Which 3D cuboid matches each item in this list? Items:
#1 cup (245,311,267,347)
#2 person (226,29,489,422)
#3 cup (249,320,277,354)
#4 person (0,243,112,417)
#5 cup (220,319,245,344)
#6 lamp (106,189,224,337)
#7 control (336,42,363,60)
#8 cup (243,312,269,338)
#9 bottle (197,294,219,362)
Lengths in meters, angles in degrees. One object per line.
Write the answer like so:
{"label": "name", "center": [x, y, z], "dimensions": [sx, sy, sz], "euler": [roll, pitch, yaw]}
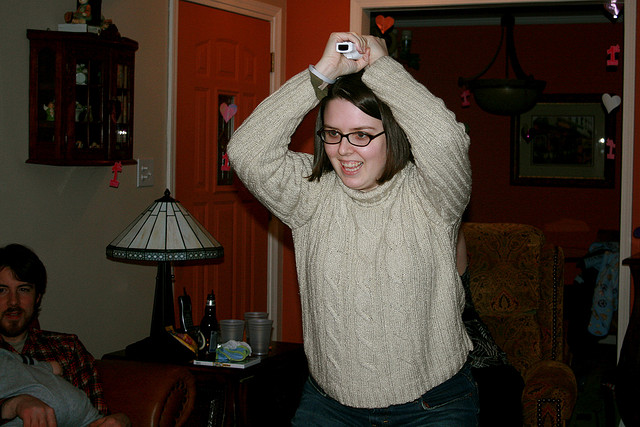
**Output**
{"label": "cup", "center": [-0.387, 0.692, 3.289], "dimensions": [0.156, 0.249, 0.163], "euler": [0, 2, 0]}
{"label": "person", "center": [0.132, 0.046, 1.810], "dimensions": [0.730, 1.073, 0.289], "euler": [0, 0, 17]}
{"label": "cup", "center": [-0.348, 0.735, 3.233], "dimensions": [0.163, 0.211, 0.184], "euler": [3, -6, -18]}
{"label": "person", "center": [-1.257, 0.566, 2.664], "dimensions": [0.493, 0.828, 0.418], "euler": [0, 0, -21]}
{"label": "cup", "center": [-0.498, 0.674, 3.154], "dimensions": [0.122, 0.105, 0.120], "euler": [2, -3, 0]}
{"label": "lamp", "center": [-0.803, 0.275, 3.291], "dimensions": [0.698, 0.989, 0.739], "euler": [3, 5, 22]}
{"label": "control", "center": [0.090, -0.515, 1.751], "dimensions": [0.065, 0.043, 0.068], "euler": [3, 1, -1]}
{"label": "cup", "center": [-0.383, 0.662, 3.282], "dimensions": [0.125, 0.127, 0.138], "euler": [-1, 4, -6]}
{"label": "bottle", "center": [-0.632, 0.641, 3.150], "dimensions": [0.110, 0.260, 0.356], "euler": [0, 1, -11]}
